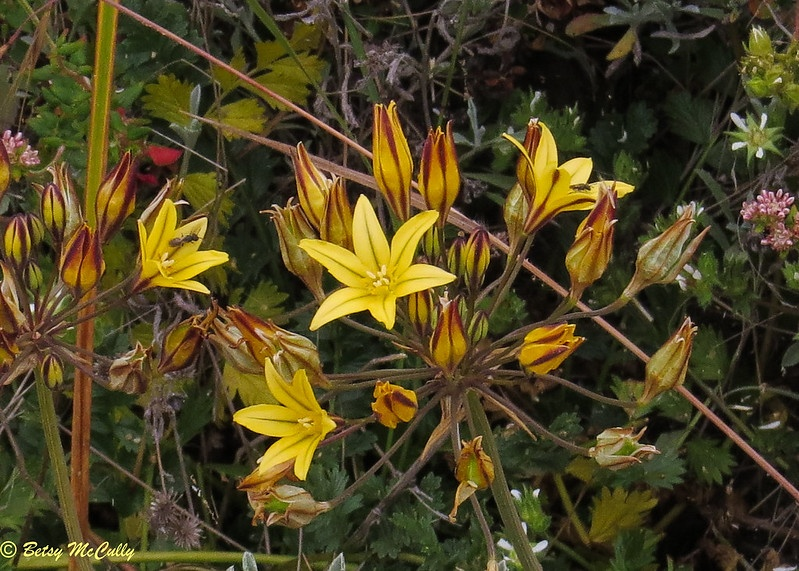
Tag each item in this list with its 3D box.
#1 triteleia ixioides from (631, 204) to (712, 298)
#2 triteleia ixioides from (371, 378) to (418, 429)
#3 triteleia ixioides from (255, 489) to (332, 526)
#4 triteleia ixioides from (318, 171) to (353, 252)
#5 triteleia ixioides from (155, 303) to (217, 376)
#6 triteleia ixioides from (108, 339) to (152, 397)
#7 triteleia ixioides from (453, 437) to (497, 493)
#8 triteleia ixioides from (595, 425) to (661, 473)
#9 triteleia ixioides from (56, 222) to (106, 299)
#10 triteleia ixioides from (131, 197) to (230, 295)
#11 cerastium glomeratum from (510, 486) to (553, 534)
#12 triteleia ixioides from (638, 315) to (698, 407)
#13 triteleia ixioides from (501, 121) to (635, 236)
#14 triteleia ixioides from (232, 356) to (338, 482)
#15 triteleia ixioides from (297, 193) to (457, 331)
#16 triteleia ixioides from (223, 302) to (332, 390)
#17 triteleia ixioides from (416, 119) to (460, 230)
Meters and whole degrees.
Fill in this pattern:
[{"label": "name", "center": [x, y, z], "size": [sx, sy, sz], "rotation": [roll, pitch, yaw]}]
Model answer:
[{"label": "triteleia ixioides", "center": [0.662, -0.068, 2.325], "size": [0.094, 0.093, 0.300], "rotation": [42, 111, 19]}, {"label": "triteleia ixioides", "center": [-0.001, 0.273, 2.158], "size": [0.094, 0.120, 0.095], "rotation": [12, 77, 38]}, {"label": "triteleia ixioides", "center": [-0.287, 0.550, 2.274], "size": [0.142, 0.080, 0.106], "rotation": [-5, 55, -17]}, {"label": "triteleia ixioides", "center": [-0.169, -0.168, 2.271], "size": [0.079, 0.078, 0.210], "rotation": [3, 51, 5]}, {"label": "triteleia ixioides", "center": [-0.566, 0.155, 2.346], "size": [0.078, 0.072, 0.208], "rotation": [49, 64, -13]}, {"label": "triteleia ixioides", "center": [-0.697, 0.222, 2.328], "size": [0.104, 0.187, 0.141], "rotation": [-3, 49, -12]}, {"label": "triteleia ixioides", "center": [0.176, 0.418, 2.149], "size": [0.087, 0.038, 0.127], "rotation": [3, 92, -5]}, {"label": "triteleia ixioides", "center": [0.572, 0.413, 2.249], "size": [0.165, 0.088, 0.112], "rotation": [-7, 94, 3]}, {"label": "triteleia ixioides", "center": [-0.793, -0.051, 2.252], "size": [0.100, 0.088, 0.200], "rotation": [15, 93, 7]}, {"label": "triteleia ixioides", "center": [-0.567, -0.078, 2.253], "size": [0.206, 0.116, 0.254], "rotation": [-10, 84, -25]}, {"label": "cerastium glomeratum", "center": [0.410, 0.710, 2.794], "size": [0.125, 0.064, 0.168], "rotation": [3, 20, -16]}, {"label": "triteleia ixioides", "center": [0.676, 0.199, 2.272], "size": [0.180, 0.203, 0.094], "rotation": [-27, 57, -29]}, {"label": "triteleia ixioides", "center": [0.393, -0.256, 2.276], "size": [0.281, 0.315, 0.172], "rotation": [30, 90, 5]}, {"label": "triteleia ixioides", "center": [-0.262, 0.325, 2.121], "size": [0.236, 0.169, 0.255], "rotation": [-41, 37, 14]}, {"label": "triteleia ixioides", "center": [-0.057, -0.051, 2.092], "size": [0.328, 0.165, 0.321], "rotation": [-4, 52, -14]}, {"label": "triteleia ixioides", "center": [-0.294, 0.182, 2.253], "size": [0.104, 0.357, 0.129], "rotation": [-30, 44, 5]}, {"label": "triteleia ixioides", "center": [0.101, -0.276, 2.282], "size": [0.089, 0.275, 0.094], "rotation": [-14, 33, -17]}]
